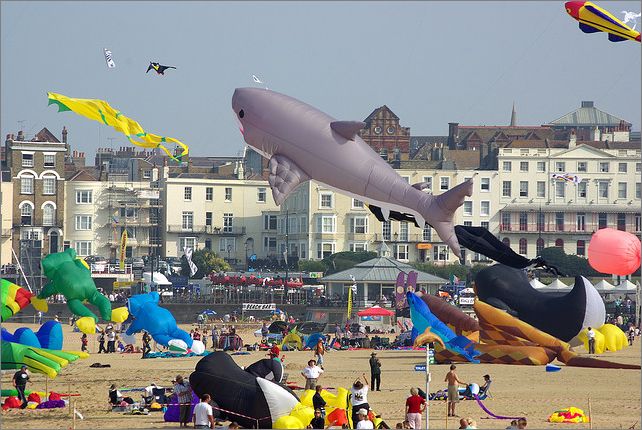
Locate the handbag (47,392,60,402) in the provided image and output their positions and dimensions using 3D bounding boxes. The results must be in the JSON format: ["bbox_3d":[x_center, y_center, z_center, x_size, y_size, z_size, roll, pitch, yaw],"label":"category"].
[{"bbox_3d":[-16.941,11.826,110.490,0.594,0.600,0.442,3,-5,-9],"label":"handbag"}]

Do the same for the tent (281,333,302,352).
[{"bbox_3d":[-1.879,9.661,128.975,1.252,0.961,1.294,0,-22,-2],"label":"tent"}]

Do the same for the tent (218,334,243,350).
[{"bbox_3d":[-6.575,9.757,129.662,1.668,1.273,1.905,0,-6,4],"label":"tent"}]

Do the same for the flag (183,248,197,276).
[{"bbox_3d":[-12.969,4.976,176.517,1.164,3.050,4.174,1,-6,-5],"label":"flag"}]

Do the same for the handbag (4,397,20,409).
[{"bbox_3d":[-19.509,12.157,109.775,1.135,0.757,0.389,1,-6,-14],"label":"handbag"}]
